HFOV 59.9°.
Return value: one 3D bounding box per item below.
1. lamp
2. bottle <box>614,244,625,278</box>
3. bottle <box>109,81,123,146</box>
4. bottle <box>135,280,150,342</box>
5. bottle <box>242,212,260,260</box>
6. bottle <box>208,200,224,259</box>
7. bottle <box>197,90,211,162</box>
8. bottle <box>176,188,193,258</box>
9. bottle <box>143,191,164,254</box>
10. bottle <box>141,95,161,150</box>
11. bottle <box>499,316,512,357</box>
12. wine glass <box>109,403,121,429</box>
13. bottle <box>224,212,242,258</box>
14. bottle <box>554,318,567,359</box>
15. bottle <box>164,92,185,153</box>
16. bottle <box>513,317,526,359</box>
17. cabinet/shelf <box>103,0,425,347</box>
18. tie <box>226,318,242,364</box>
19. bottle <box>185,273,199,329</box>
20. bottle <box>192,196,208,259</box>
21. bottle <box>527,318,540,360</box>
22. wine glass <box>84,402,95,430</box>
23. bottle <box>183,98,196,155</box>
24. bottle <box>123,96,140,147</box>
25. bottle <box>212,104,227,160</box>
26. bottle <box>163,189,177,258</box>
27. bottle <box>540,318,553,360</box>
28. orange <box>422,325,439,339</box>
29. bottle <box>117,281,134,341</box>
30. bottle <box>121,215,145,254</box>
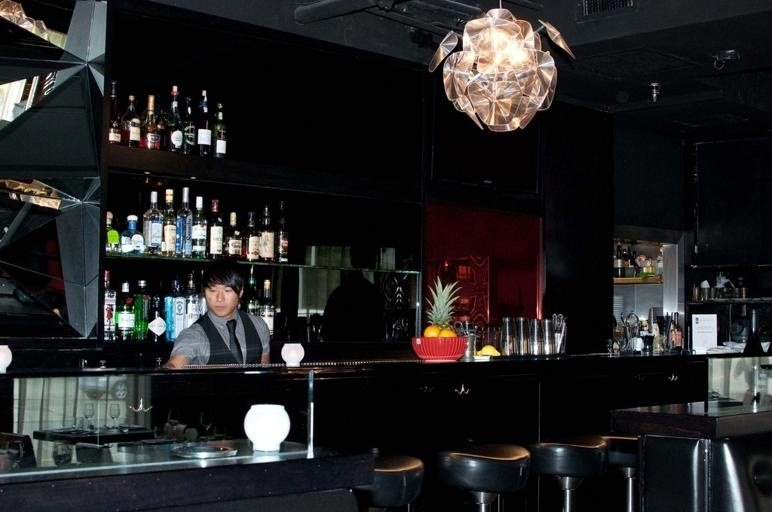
[{"bbox_3d":[0.614,-0.991,3.614,0.588,0.524,0.421,-1,-7,6],"label":"lamp"},{"bbox_3d":[2.756,0.056,7.874,0.119,0.403,0.215,-2,-8,19],"label":"bottle"},{"bbox_3d":[-1.594,-0.859,3.979,0.071,0.387,0.170,3,-8,-20],"label":"bottle"},{"bbox_3d":[-1.517,0.332,4.179,0.066,0.363,0.096,-3,-8,22],"label":"bottle"},{"bbox_3d":[-0.896,-0.137,4.533,0.111,0.354,0.119,0,-8,0],"label":"bottle"},{"bbox_3d":[-1.102,-0.177,4.379,0.107,0.414,0.225,2,-8,-14],"label":"bottle"},{"bbox_3d":[-1.139,-0.824,4.230,0.104,0.453,0.166,2,-8,-16],"label":"bottle"},{"bbox_3d":[-1.281,-0.209,4.288,0.102,0.466,0.207,2,-8,-16],"label":"bottle"},{"bbox_3d":[-1.438,-0.202,4.167,0.114,0.380,0.147,6,-10,-40],"label":"bottle"},{"bbox_3d":[-1.415,-0.817,4.081,0.106,0.361,0.136,3,-8,-18],"label":"bottle"},{"bbox_3d":[0.950,0.621,5.240,0.096,0.279,0.237,-1,-7,6],"label":"bottle"},{"bbox_3d":[-0.845,0.498,2.100,0.032,0.075,0.034,3,-8,-22],"label":"wine glass"},{"bbox_3d":[-1.003,-0.144,4.458,0.120,0.336,0.167,2,-8,-12],"label":"bottle"},{"bbox_3d":[1.384,0.614,5.304,0.089,0.308,0.368,-2,-8,14],"label":"bottle"},{"bbox_3d":[-1.302,-0.840,4.172,0.115,0.414,0.136,4,-9,-28],"label":"bottle"},{"bbox_3d":[1.044,0.615,5.160,0.098,0.270,0.074,-1,-8,12],"label":"bottle"},{"bbox_3d":[-0.857,-0.579,4.386,2.357,2.162,0.753,2,0,-27],"label":"cabinet/shelf"},{"bbox_3d":[-0.855,0.481,3.817,0.082,0.242,0.027,-3,-21,-16],"label":"tie"},{"bbox_3d":[-1.221,0.290,4.265,0.088,0.330,0.089,-3,2,0],"label":"bottle"},{"bbox_3d":[-1.194,-0.179,4.322,0.099,0.414,0.203,2,-8,-15],"label":"bottle"},{"bbox_3d":[1.150,0.619,5.174,0.101,0.265,0.072,7,-11,-44],"label":"bottle"},{"bbox_3d":[-0.912,0.492,2.074,0.032,0.079,0.043,3,-8,-23],"label":"wine glass"},{"bbox_3d":[-1.230,-0.823,4.229,0.081,0.367,0.104,3,-8,-19],"label":"bottle"},{"bbox_3d":[-1.527,-0.823,4.055,0.112,0.326,0.105,0,-8,0],"label":"bottle"},{"bbox_3d":[-1.047,-0.800,4.279,0.086,0.359,0.063,2,-8,-15],"label":"bottle"},{"bbox_3d":[-1.353,-0.208,4.227,0.083,0.429,0.163,3,-8,-17],"label":"bottle"},{"bbox_3d":[1.247,0.618,5.142,0.091,0.269,0.157,-2,-8,12],"label":"bottle"},{"bbox_3d":[0.285,0.480,4.276,0.077,0.093,0.078,0,-5,32],"label":"orange"},{"bbox_3d":[-1.580,0.327,4.095,0.112,0.353,0.125,3,-8,-21],"label":"bottle"},{"bbox_3d":[-1.545,-0.130,4.110,0.135,0.246,0.138,0,-8,0],"label":"bottle"}]
